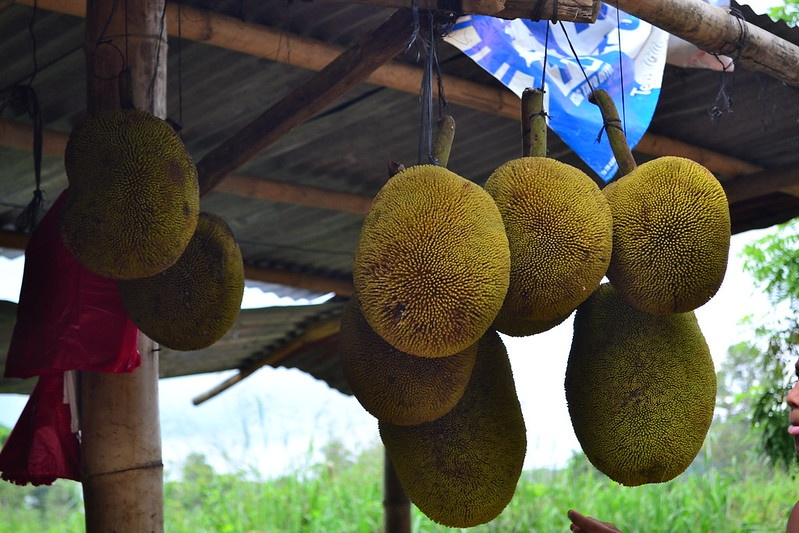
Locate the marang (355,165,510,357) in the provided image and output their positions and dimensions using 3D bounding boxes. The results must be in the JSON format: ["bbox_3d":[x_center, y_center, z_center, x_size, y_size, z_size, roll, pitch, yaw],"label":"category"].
[{"bbox_3d":[0.082,0.003,2.633,0.451,0.523,0.242,-6,-2,4],"label":"marang"}]

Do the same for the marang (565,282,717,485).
[{"bbox_3d":[0.765,0.403,2.951,0.448,0.586,0.449,-7,-14,21],"label":"marang"}]

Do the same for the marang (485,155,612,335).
[{"bbox_3d":[0.458,-0.066,2.721,0.484,0.403,0.395,12,8,30],"label":"marang"}]

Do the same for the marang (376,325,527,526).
[{"bbox_3d":[0.205,0.492,2.805,0.407,0.551,0.200,-5,4,5],"label":"marang"}]

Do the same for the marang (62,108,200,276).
[{"bbox_3d":[-0.872,-0.229,2.898,0.446,0.518,0.205,-5,3,-8],"label":"marang"}]
